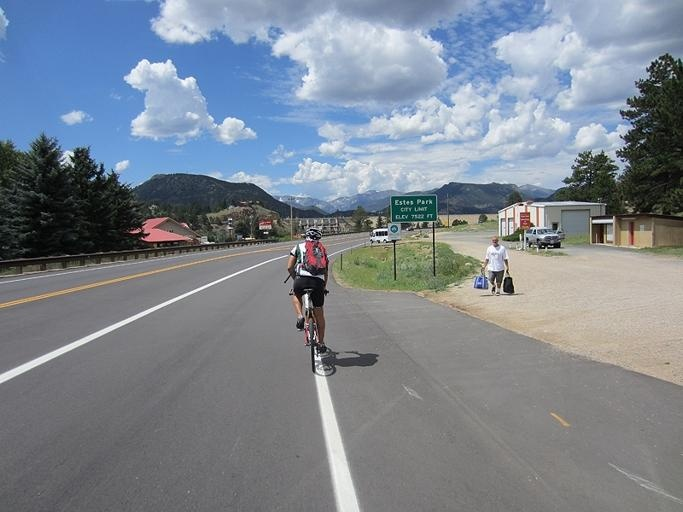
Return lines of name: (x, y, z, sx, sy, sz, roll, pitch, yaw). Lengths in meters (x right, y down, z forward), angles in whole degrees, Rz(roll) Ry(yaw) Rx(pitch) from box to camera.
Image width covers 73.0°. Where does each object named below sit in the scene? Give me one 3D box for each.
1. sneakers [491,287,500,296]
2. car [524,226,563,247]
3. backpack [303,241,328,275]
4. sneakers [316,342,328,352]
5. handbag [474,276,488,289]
sneakers: (5.367, 1.236, 16.158, 0.172, 0.242, 0.566, -3, -6, 2)
car: (18.490, -1.655, 42.926, 1.546, 1.651, 3.682, -1, -2, -1)
backpack: (-0.481, 0.036, 8.173, 0.429, 0.589, 0.473, -1, 9, -5)
sneakers: (-0.347, 1.624, 8.222, 0.162, 0.188, 0.125, 0, 4, -5)
handbag: (4.835, 0.898, 16.263, 0.416, 0.449, 0.411, -8, -18, 37)
